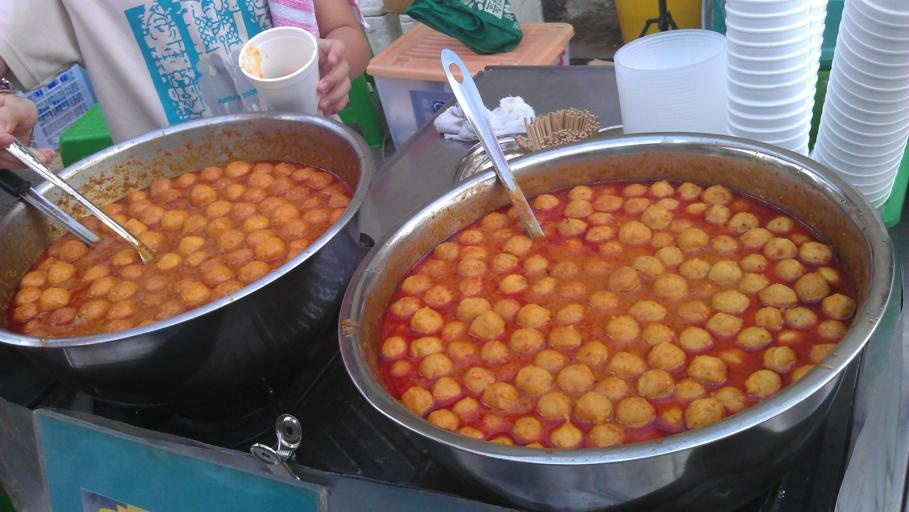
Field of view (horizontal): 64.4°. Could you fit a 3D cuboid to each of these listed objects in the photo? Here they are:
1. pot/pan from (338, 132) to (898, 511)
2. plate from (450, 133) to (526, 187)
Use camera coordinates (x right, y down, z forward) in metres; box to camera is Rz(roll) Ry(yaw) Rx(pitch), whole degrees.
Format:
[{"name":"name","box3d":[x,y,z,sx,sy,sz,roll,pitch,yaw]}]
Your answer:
[{"name":"pot/pan","box3d":[0.313,0.094,1.496,0.925,0.311,0.902,20,52,28]},{"name":"plate","box3d":[0.092,-0.267,1.969,0.244,0.159,0.177,0,91,7]}]
